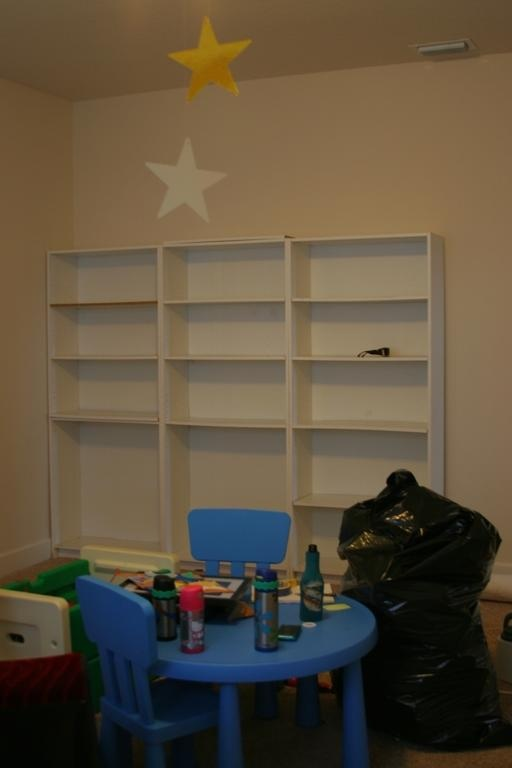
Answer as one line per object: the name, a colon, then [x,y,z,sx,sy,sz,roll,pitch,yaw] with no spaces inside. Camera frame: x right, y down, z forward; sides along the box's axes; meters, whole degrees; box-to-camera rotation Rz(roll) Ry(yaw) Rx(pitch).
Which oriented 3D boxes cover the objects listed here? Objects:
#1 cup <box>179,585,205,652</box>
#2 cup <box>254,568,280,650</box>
cup: [-0.151,0.552,1.536,0.062,0.151,0.100,1,-1,-5]
cup: [0.025,0.541,1.571,0.059,0.176,0.144,0,-1,2]
